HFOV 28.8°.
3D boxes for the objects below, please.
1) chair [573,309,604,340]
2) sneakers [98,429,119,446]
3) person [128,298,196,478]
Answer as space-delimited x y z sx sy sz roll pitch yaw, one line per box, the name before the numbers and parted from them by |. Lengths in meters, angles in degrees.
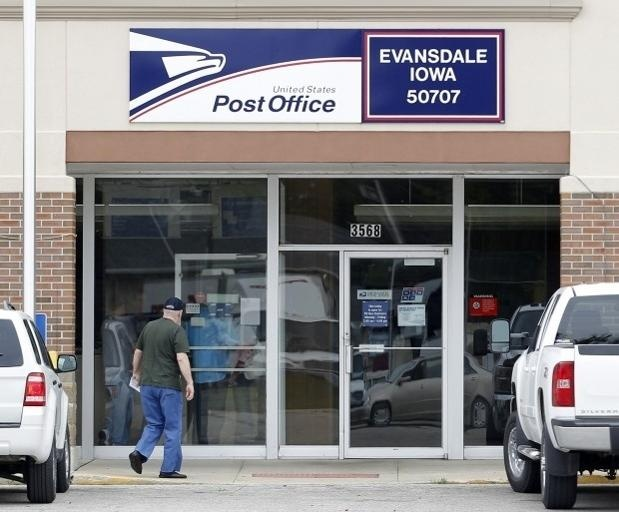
chair | 3.005 0.761 13.048 0.254 0.338 0.329 0 -9 10
sneakers | -2.813 2.545 16.848 0.264 0.251 0.186 0 0 -14
person | -1.839 1.661 15.022 0.770 2.265 0.798 0 -3 -6
